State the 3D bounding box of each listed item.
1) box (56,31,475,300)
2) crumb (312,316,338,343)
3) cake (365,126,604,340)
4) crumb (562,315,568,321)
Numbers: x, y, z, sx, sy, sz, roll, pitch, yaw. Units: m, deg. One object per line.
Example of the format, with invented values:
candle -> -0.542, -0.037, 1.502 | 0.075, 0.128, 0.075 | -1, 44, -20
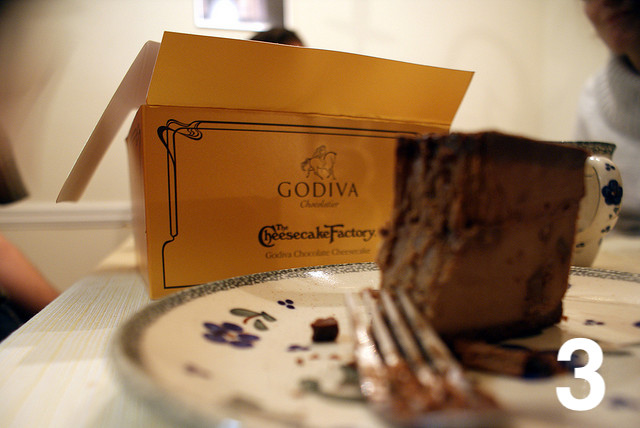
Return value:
box -> -0.217, -0.006, 1.662 | 0.945, 0.580, 0.733 | 0, 7, -19
crumb -> 0.010, 0.254, 1.162 | 0.054, 0.030, 0.056 | 0, 26, -2
cake -> 0.452, 0.030, 1.379 | 0.539, 0.450, 0.280 | 2, 7, -36
crumb -> 0.586, 0.249, 1.261 | 0.010, 0.004, 0.011 | 8, 27, 13
